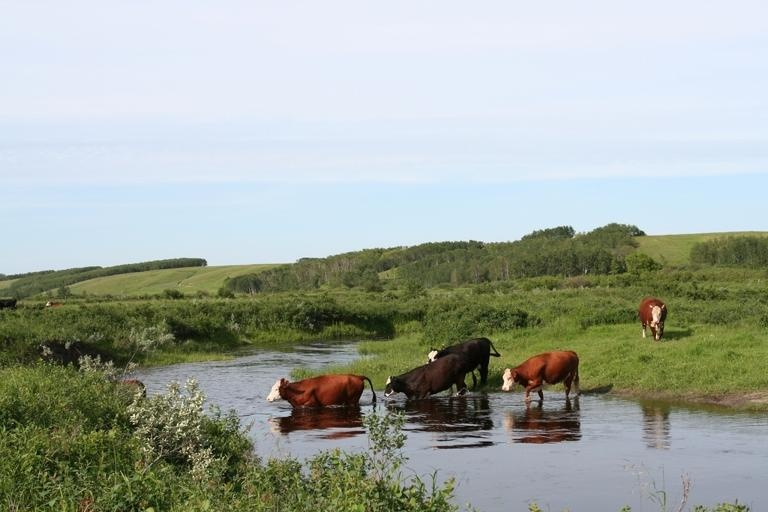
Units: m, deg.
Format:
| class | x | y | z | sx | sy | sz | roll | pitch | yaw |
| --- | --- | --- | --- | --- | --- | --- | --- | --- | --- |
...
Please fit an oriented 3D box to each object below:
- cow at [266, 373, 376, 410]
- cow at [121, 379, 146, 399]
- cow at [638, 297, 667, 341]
| class | x | y | z | sx | sy | sz | roll | pitch | yaw |
| --- | --- | --- | --- | --- | --- | --- | --- | --- | --- |
| cow | -2.353 | 5.160 | 34.617 | 4.409 | 2.022 | 1.435 | 1 | -12 | -5 |
| cow | -8.612 | 4.539 | 31.520 | 0.766 | 0.270 | 0.779 | 6 | -2 | 14 |
| cow | 11.730 | 2.721 | 40.499 | 1.045 | 1.516 | 2.171 | -3 | -2 | 15 |
